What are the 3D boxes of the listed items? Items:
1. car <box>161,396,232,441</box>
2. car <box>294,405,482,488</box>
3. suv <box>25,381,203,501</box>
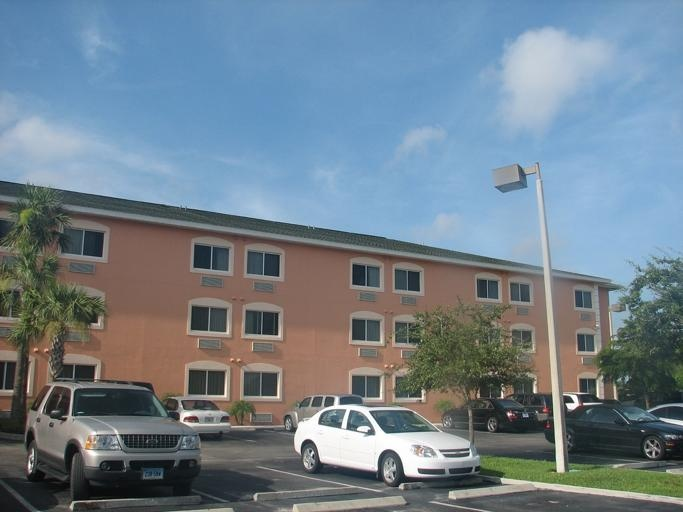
[{"bbox_3d":[-5.977,7.124,27.579,2.290,1.627,4.922,4,-6,-27],"label":"car"},{"bbox_3d":[1.057,5.036,17.804,4.623,2.042,1.523,-12,-20,37],"label":"car"},{"bbox_3d":[-5.396,4.131,15.385,4.268,2.673,2.143,-11,-19,34],"label":"suv"}]
